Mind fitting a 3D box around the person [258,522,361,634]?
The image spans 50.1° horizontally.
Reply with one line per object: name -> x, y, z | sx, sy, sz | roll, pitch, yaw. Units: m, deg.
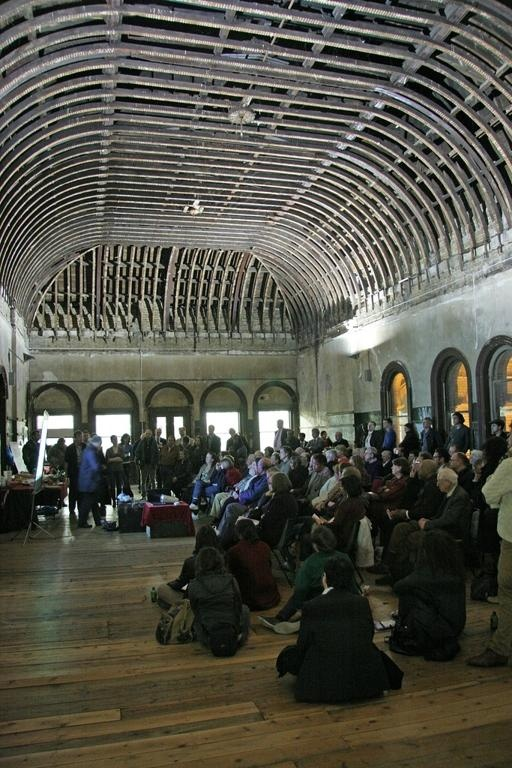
person -> 0.366, 1.410, 3.912 | 0.351, 0.842, 0.584 | 4, 6, -41

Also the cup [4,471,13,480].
cup -> -4.807, 1.767, 10.620 | 0.156, 0.228, 0.159 | -2, -6, 0

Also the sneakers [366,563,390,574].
sneakers -> 1.433, 2.137, 6.365 | 0.137, 0.095, 0.225 | 7, -5, -34

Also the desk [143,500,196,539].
desk -> -1.562, 2.376, 9.733 | 0.619, 0.420, 0.648 | 3, -11, -20

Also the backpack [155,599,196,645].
backpack -> -0.605, 1.860, 4.338 | 0.220, 0.250, 0.443 | -2, -7, 25

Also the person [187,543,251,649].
person -> -0.276, 1.562, 3.954 | 0.430, 0.736, 0.385 | -1, -8, -2

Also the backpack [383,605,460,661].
backpack -> 1.169, 1.665, 3.835 | 0.430, 0.453, 0.343 | -4, -9, 31

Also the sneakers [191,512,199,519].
sneakers -> -1.300, 2.796, 11.637 | 0.151, 0.101, 0.157 | -1, -11, -3

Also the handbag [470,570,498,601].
handbag -> 2.159, 1.929, 5.250 | 0.219, 0.100, 0.264 | 0, -3, -3

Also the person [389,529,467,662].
person -> 1.191, 1.420, 3.795 | 0.489, 0.864, 0.474 | 4, -2, -20

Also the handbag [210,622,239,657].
handbag -> -0.221, 1.768, 3.884 | 0.168, 0.239, 0.237 | 2, 3, -24

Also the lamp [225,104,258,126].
lamp -> -0.250, -4.784, 9.724 | 0.495, 0.169, 0.563 | -1, -8, -4
